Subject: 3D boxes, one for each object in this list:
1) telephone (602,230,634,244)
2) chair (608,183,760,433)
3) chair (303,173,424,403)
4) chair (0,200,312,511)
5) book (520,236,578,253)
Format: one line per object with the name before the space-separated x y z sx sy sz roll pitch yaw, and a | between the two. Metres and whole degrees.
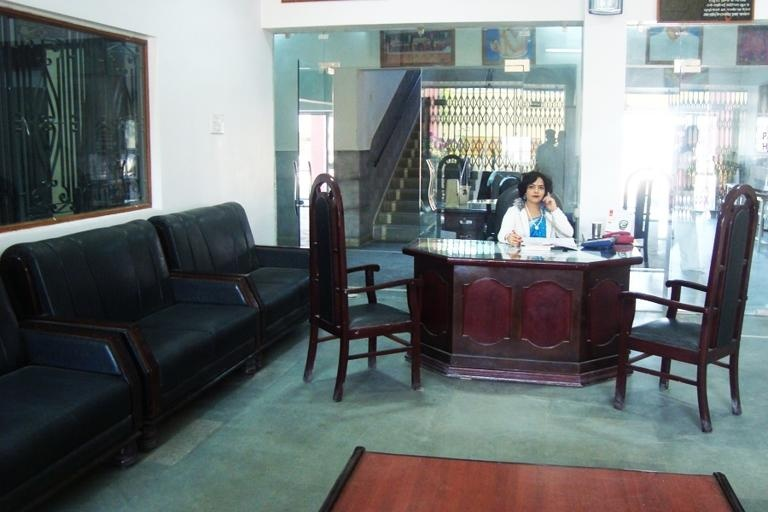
telephone | 1.934 -0.159 4.392 0.200 0.081 0.117 0 7 0
chair | 2.071 0.284 3.584 0.724 1.562 0.891 13 22 43
chair | -0.213 0.177 3.966 0.885 1.600 0.808 -4 16 -8
chair | -1.518 0.311 4.108 1.030 1.205 2.163 4 16 19
book | 1.332 -0.100 4.335 0.469 0.054 0.453 1 15 7
